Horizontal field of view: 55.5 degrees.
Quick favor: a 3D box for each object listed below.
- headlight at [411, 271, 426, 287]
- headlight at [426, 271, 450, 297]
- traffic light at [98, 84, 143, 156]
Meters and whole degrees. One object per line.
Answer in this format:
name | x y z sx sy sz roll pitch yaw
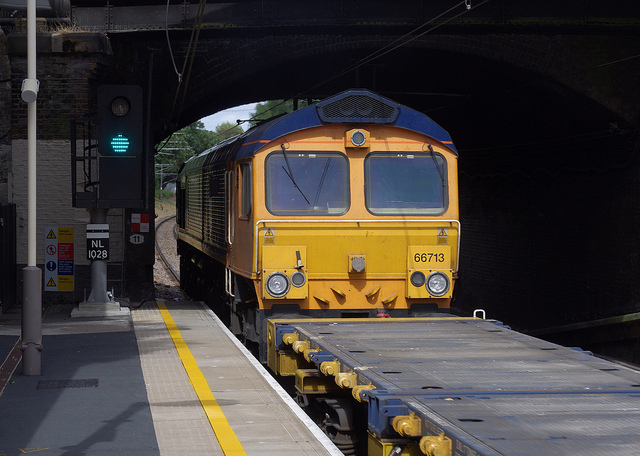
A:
headlight | 1.613 0.833 9.975 0.234 0.242 0.072 -2 3 -19
headlight | 1.941 0.911 9.974 0.378 0.395 0.110 0 3 10
traffic light | -4.380 -2.243 13.311 0.956 1.573 0.641 -2 -6 -5
